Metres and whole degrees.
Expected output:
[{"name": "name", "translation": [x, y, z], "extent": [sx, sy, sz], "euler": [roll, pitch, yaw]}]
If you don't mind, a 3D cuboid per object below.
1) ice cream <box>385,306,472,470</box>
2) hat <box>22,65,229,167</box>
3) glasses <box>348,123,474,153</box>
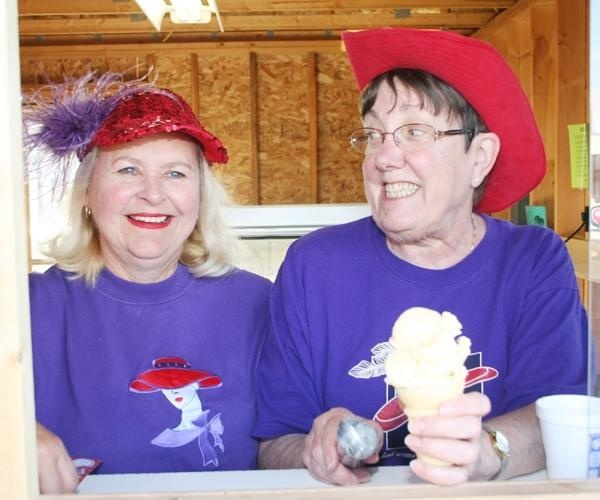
[{"name": "ice cream", "translation": [0.226, 0.263, 1.180], "extent": [0.167, 0.262, 0.140], "euler": [-4, -2, -14]}, {"name": "hat", "translation": [-0.525, -0.370, 1.918], "extent": [0.483, 0.169, 0.342], "euler": [-3, -2, -23]}, {"name": "glasses", "translation": [0.317, -0.290, 1.789], "extent": [0.173, 0.040, 0.174], "euler": [-4, -6, 43]}]
